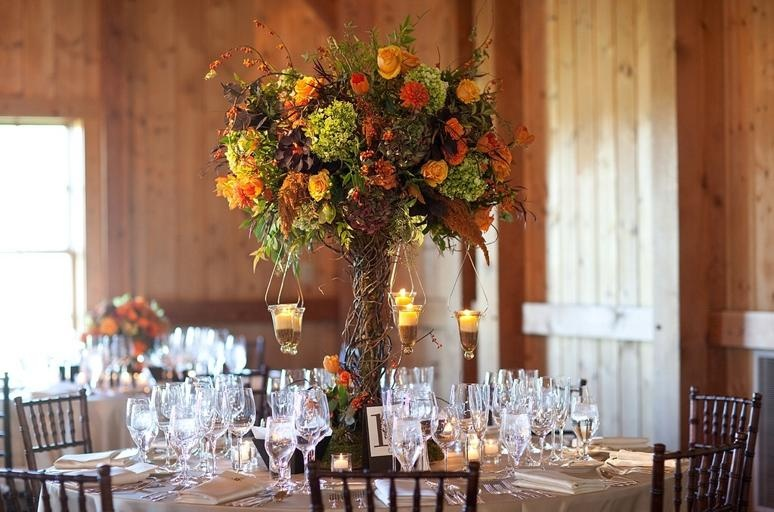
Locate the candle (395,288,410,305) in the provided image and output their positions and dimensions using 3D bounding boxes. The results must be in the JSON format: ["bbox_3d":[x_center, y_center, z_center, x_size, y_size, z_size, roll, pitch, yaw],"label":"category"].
[{"bbox_3d":[0.094,0.222,4.810,0.070,0.096,0.082,3,3,38],"label":"candle"}]

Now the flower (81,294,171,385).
[{"bbox_3d":[-2.315,0.692,7.331,0.592,0.795,0.699,-2,-1,10],"label":"flower"}]

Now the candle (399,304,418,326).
[{"bbox_3d":[0.119,0.329,4.781,0.098,0.134,0.100,-3,7,-34],"label":"candle"}]

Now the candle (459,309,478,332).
[{"bbox_3d":[0.452,0.357,4.766,0.094,0.125,0.105,1,-4,17],"label":"candle"}]

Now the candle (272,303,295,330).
[{"bbox_3d":[-0.573,0.331,4.774,0.111,0.108,0.125,0,-3,9],"label":"candle"}]
